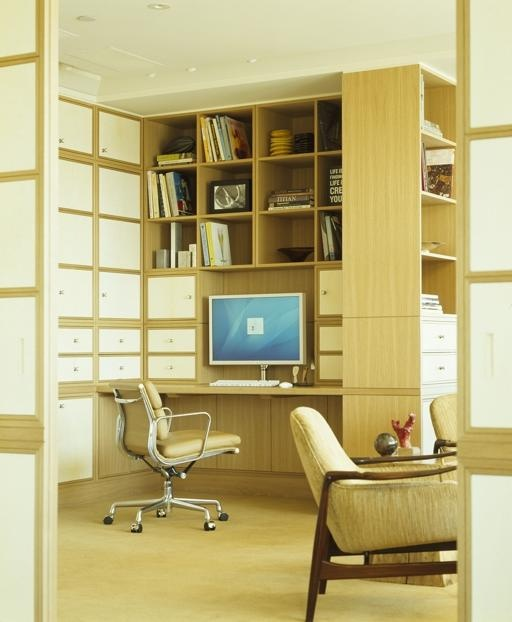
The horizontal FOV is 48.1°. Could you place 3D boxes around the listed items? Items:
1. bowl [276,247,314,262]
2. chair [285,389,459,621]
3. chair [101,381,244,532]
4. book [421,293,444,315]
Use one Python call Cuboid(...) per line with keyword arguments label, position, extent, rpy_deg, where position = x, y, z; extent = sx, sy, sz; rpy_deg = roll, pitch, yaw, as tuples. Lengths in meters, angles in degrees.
Cuboid(label="bowl", position=(0.339, -0.494, 4.909), extent=(0.192, 0.065, 0.190), rpy_deg=(-2, -1, 0))
Cuboid(label="chair", position=(0.460, 0.801, 2.585), extent=(0.884, 0.862, 0.788), rpy_deg=(-2, -5, 6))
Cuboid(label="chair", position=(-0.612, 1.030, 4.119), extent=(0.883, 0.970, 0.797), rpy_deg=(2, -12, -13))
Cuboid(label="book", position=(1.279, -0.048, 4.211), extent=(0.184, 0.170, 0.053), rpy_deg=(5, -5, -38))
